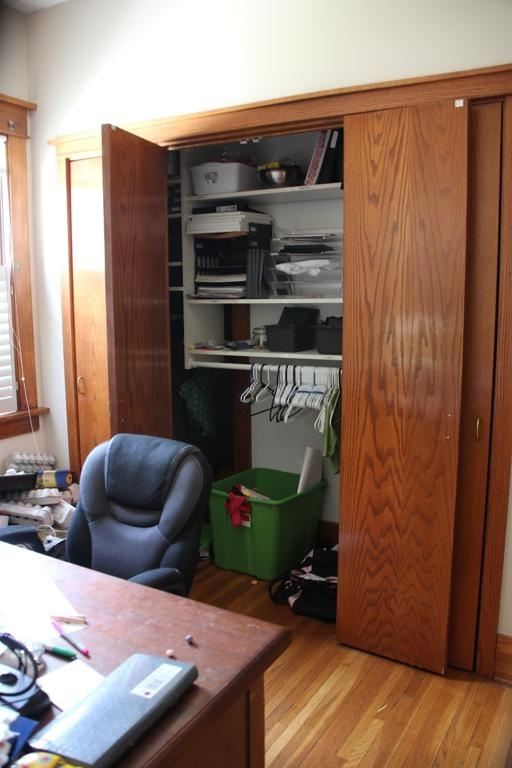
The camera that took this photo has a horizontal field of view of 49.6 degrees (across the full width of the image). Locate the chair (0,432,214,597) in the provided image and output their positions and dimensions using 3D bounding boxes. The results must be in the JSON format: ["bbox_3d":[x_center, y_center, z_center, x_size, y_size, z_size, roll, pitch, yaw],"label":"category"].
[{"bbox_3d":[-0.403,0.330,1.699,0.355,0.587,0.475,5,0,26],"label":"chair"}]

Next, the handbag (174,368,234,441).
[{"bbox_3d":[-0.340,0.121,3.497,0.078,0.556,0.357,-2,6,43],"label":"handbag"}]
